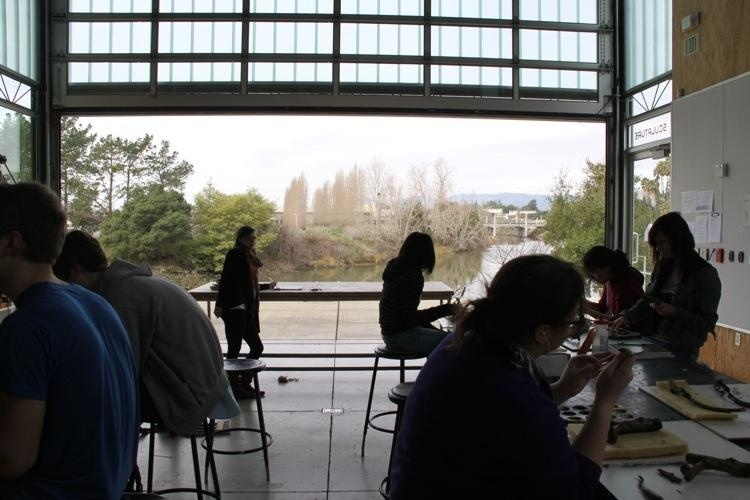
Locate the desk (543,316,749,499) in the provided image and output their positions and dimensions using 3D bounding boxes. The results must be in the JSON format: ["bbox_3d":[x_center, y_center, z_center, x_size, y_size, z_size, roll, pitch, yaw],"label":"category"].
[{"bbox_3d":[1.389,0.807,2.835,0.614,0.222,0.927,1,13,4],"label":"desk"}]

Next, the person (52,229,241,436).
[{"bbox_3d":[-1.046,0.454,3.681,1.108,1.225,0.814,0,3,12],"label":"person"}]

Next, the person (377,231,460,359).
[{"bbox_3d":[0.380,0.552,4.811,0.679,1.349,0.552,-2,8,-11],"label":"person"}]
